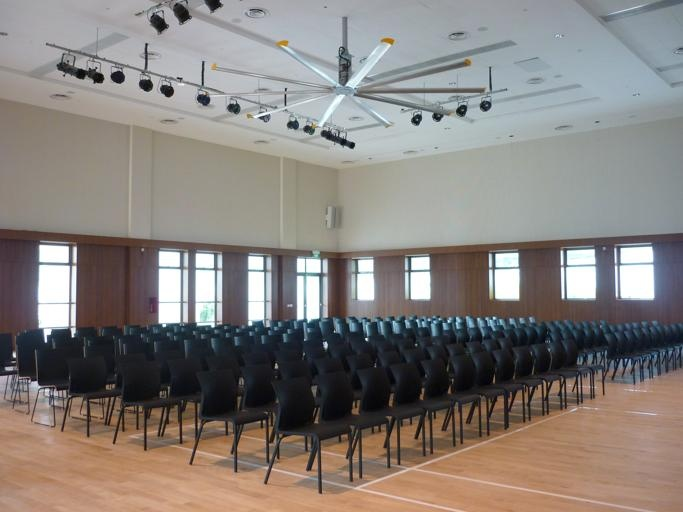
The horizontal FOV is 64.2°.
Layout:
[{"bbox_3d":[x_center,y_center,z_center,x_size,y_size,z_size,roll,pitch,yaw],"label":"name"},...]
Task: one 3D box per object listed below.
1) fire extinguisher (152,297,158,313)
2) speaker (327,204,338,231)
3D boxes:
[{"bbox_3d":[-6.311,1.624,18.310,0.247,0.523,0.103,-2,4,-32],"label":"fire extinguisher"},{"bbox_3d":[-0.401,-1.761,24.579,0.246,1.022,0.734,2,4,36],"label":"speaker"}]
